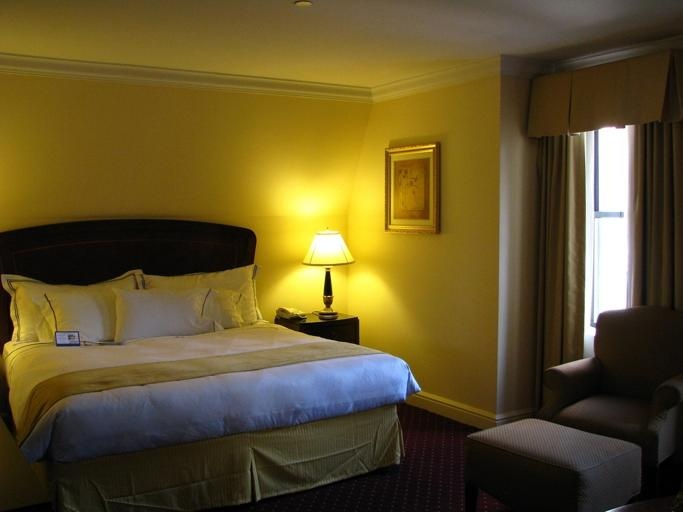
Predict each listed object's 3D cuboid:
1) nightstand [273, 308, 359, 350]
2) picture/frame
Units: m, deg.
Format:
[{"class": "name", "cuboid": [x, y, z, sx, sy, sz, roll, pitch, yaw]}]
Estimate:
[{"class": "nightstand", "cuboid": [-0.224, 0.657, 6.116, 0.510, 0.522, 0.407, -3, 4, -36]}, {"class": "picture/frame", "cuboid": [0.715, -0.680, 5.795, 0.078, 0.877, 0.756, -6, 9, -37]}]
